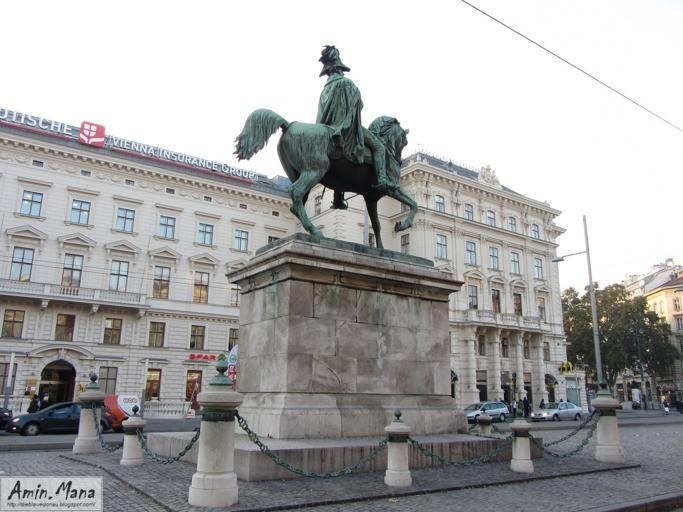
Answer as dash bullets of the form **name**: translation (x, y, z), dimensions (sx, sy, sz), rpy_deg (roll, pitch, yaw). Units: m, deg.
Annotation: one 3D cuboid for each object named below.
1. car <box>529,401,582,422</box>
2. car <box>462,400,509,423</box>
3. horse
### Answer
- **car**: translation (15.451, 11.199, 42.021), dimensions (4.434, 1.352, 1.695), rpy_deg (13, -21, -40)
- **car**: translation (9.712, 10.337, 38.711), dimensions (2.517, 1.332, 4.993), rpy_deg (-5, -16, 14)
- **horse**: translation (-0.210, -2.145, 14.326), dimensions (1.445, 3.769, 6.300), rpy_deg (-16, -15, 41)
